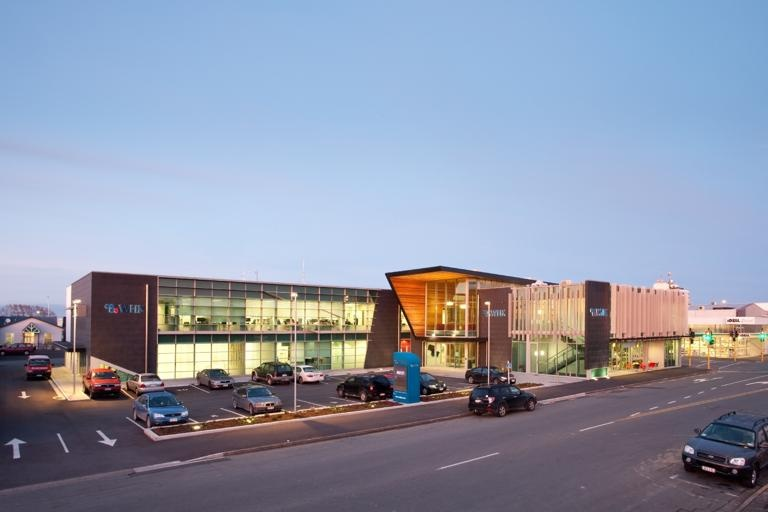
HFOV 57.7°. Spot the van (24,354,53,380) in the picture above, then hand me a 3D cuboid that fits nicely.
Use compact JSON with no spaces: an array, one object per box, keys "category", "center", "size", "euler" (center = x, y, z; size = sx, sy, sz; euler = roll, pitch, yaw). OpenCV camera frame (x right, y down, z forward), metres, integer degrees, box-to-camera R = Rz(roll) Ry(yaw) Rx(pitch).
[{"category":"van","center":[-32.103,10.304,64.648],"size":[1.792,1.479,2.945],"euler":[2,-8,-27]}]

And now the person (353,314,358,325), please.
[{"category":"person","center":[-3.076,6.968,75.950],"size":[0.364,1.026,0.797],"euler":[2,5,34]}]

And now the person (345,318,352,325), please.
[{"category":"person","center":[-3.853,7.032,75.317],"size":[0.931,0.663,0.311],"euler":[-4,5,-43]}]

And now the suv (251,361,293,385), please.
[{"category":"suv","center":[-10.121,10.453,62.626],"size":[3.765,1.851,1.636],"euler":[1,4,35]}]

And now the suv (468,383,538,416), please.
[{"category":"suv","center":[8.209,9.832,48.386],"size":[4.542,1.562,1.978],"euler":[-1,-2,-38]}]

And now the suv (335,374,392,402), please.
[{"category":"suv","center":[-1.485,10.151,54.149],"size":[4.006,1.769,2.230],"euler":[1,4,42]}]

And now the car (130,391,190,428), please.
[{"category":"car","center":[-14.247,9.788,44.604],"size":[2.040,1.670,3.369],"euler":[-4,4,-43]}]
